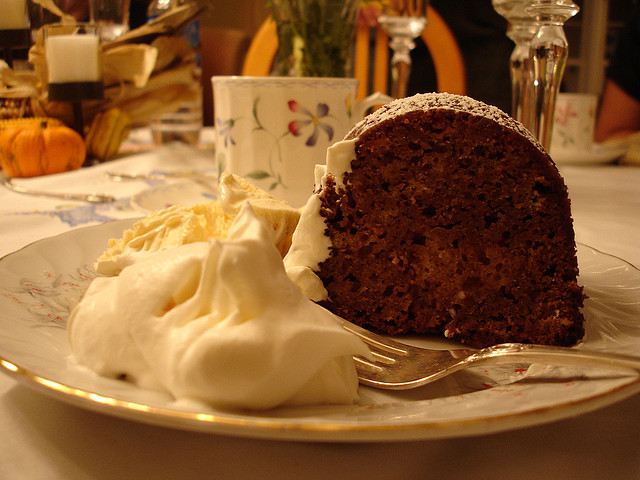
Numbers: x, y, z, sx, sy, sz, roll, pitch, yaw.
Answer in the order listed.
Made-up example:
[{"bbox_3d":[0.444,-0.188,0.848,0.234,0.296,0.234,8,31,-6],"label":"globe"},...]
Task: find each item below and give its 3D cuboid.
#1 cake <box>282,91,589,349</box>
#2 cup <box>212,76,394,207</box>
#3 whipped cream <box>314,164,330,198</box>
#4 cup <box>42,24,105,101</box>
[{"bbox_3d":[0.179,-0.038,1.100,0.473,0.361,0.267,5,7,1],"label":"cake"},{"bbox_3d":[-0.003,-0.232,1.402,0.413,0.294,0.269,2,27,2],"label":"cup"},{"bbox_3d":[-0.002,-0.095,1.021,0.014,0.043,0.037,4,4,-24],"label":"whipped cream"},{"bbox_3d":[-0.551,-0.401,1.483,0.126,0.169,0.161,-3,14,-21],"label":"cup"}]
